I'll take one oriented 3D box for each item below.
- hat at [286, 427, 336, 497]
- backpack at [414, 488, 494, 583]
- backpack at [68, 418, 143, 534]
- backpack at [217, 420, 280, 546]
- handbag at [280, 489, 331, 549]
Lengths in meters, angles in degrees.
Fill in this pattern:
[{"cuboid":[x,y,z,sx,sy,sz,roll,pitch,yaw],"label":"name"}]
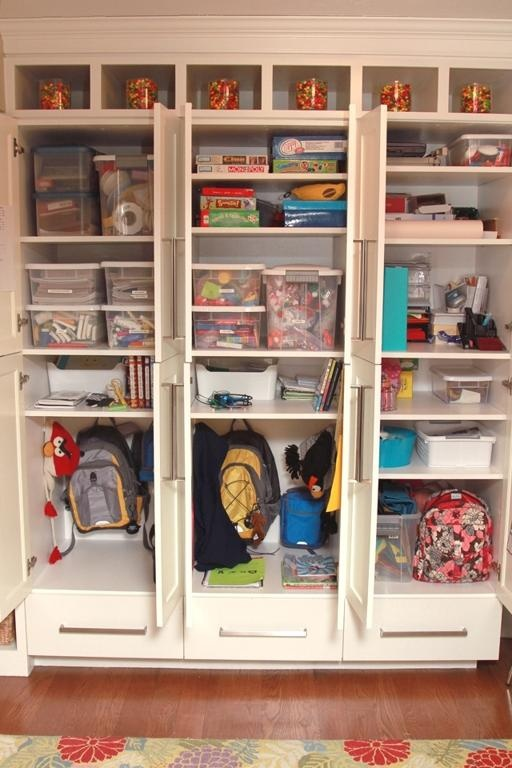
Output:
[{"cuboid":[0.239,0.309,2.500,0.230,0.124,0.278,-17,48,33],"label":"hat"},{"cuboid":[0.705,0.558,2.227,0.316,0.357,0.201,0,-1,6],"label":"backpack"},{"cuboid":[-0.641,0.415,2.641,0.292,0.426,0.406,-8,-4,3],"label":"backpack"},{"cuboid":[-0.027,0.386,2.486,0.281,0.409,0.145,5,9,22],"label":"backpack"},{"cuboid":[0.201,0.523,2.554,0.216,0.289,0.159,1,21,3],"label":"handbag"}]
